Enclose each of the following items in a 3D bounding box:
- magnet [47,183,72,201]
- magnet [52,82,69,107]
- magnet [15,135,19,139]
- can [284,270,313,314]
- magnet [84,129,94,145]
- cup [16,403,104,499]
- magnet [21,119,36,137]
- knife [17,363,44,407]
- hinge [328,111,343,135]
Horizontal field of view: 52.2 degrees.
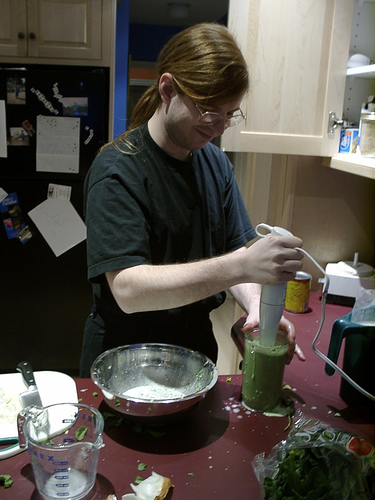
[{"bbox_3d":[-0.743,-0.338,2.211,0.088,0.062,0.012,8,11,-8],"label":"magnet"},{"bbox_3d":[-0.686,-0.846,2.113,0.075,0.099,0.024,-18,25,33],"label":"magnet"},{"bbox_3d":[-0.948,-0.628,2.134,0.010,0.018,0.018,5,16,38],"label":"magnet"},{"bbox_3d":[0.432,0.155,1.464,0.071,0.155,0.167,9,10,31],"label":"can"},{"bbox_3d":[-0.556,-0.641,2.154,0.067,0.065,0.016,-20,18,-6],"label":"magnet"},{"bbox_3d":[-0.176,0.286,0.579,0.121,0.109,0.100,5,22,11],"label":"cup"},{"bbox_3d":[-0.883,-0.676,2.136,0.048,0.087,0.023,-32,5,4],"label":"magnet"},{"bbox_3d":[-0.289,0.256,0.702,0.037,0.013,0.179,0,16,-29],"label":"knife"},{"bbox_3d":[0.538,-0.462,1.400,0.048,0.082,0.024,9,10,29],"label":"hinge"}]
